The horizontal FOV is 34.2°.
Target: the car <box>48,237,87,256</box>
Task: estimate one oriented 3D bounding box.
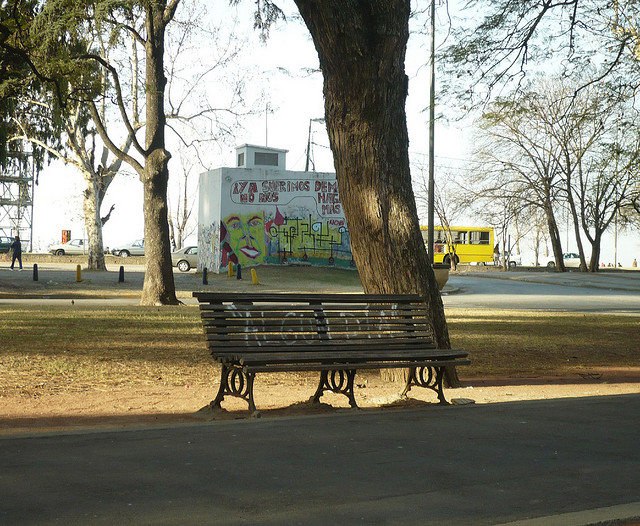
[{"bbox_3d":[-17.072,-1.164,71.963,1.121,0.901,2.648,-1,1,45],"label":"car"}]

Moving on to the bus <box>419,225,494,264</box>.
[{"bbox_3d":[9.317,-1.095,66.972,4.679,2.511,1.553,2,4,38],"label":"bus"}]

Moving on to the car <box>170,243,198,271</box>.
[{"bbox_3d":[-6.664,-0.206,51.780,1.280,0.925,1.736,-2,0,-11],"label":"car"}]

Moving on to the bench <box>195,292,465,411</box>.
[{"bbox_3d":[0.031,1.176,14.098,3.213,1.542,1.209,0,2,-11],"label":"bench"}]
